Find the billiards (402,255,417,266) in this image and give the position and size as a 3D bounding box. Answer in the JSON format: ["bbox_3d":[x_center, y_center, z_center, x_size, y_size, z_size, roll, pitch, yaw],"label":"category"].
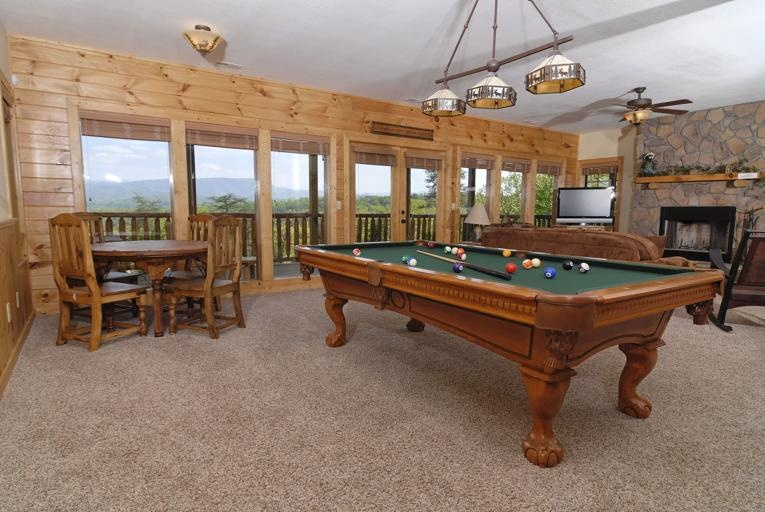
[{"bbox_3d":[0.233,0.042,4.175,0.098,0.053,0.113,1,7,-12],"label":"billiards"}]

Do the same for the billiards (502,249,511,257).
[{"bbox_3d":[1.142,-0.024,4.592,0.078,0.062,0.074,-22,8,-23],"label":"billiards"}]

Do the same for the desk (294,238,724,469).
[{"bbox_3d":[0.796,0.638,4.512,3.195,1.369,1.600,10,16,42],"label":"desk"}]

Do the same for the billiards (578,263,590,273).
[{"bbox_3d":[1.618,0.096,4.027,0.100,0.057,0.088,1,1,-9],"label":"billiards"}]

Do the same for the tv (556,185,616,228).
[{"bbox_3d":[3.826,-0.926,9.375,1.418,0.720,0.128,2,5,23],"label":"tv"}]

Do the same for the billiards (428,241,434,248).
[{"bbox_3d":[0.519,-0.120,5.281,0.073,0.054,0.069,4,-3,-29],"label":"billiards"}]

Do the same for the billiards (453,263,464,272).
[{"bbox_3d":[0.619,0.096,4.020,0.088,0.065,0.084,8,0,-24],"label":"billiards"}]
